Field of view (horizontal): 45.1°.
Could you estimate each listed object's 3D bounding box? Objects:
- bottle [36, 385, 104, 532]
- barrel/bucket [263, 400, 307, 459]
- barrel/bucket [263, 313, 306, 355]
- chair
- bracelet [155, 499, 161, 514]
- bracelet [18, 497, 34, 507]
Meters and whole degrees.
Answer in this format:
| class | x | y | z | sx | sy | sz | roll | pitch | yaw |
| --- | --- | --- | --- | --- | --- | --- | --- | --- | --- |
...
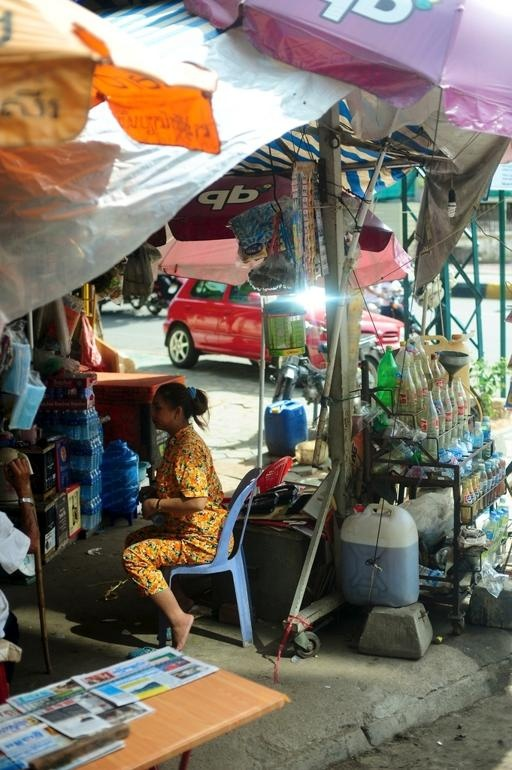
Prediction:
| class | x | y | z | sx | sy | sz | roll | pitch | yaw |
| --- | --- | --- | --- | --- | --- | --- | --- | --- | --- |
| bottle | -1.592 | 0.628 | 5.465 | 0.412 | 1.452 | 0.474 | 4 | 5 | 33 |
| barrel/bucket | 0.497 | 0.600 | 8.499 | 0.595 | 0.785 | 0.747 | -5 | -3 | 28 |
| barrel/bucket | 0.239 | -0.413 | 5.162 | 0.354 | 0.325 | 0.333 | -2 | 0 | 0 |
| chair | -0.280 | 1.033 | 3.808 | 0.615 | 0.811 | 0.491 | -4 | 12 | 3 |
| bracelet | -0.558 | 0.701 | 3.515 | 0.022 | 0.065 | 0.069 | 5 | 31 | -12 |
| bracelet | -1.103 | 0.556 | 2.964 | 0.061 | 0.035 | 0.060 | 1 | -8 | -1 |
